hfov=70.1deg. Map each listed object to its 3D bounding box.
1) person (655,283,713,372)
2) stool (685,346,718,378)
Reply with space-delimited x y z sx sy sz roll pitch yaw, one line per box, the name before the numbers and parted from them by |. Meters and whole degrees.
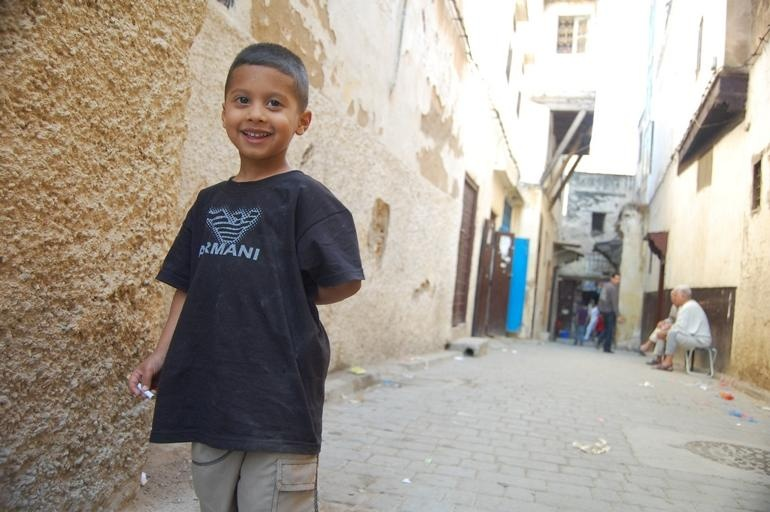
person | 5.055 1.212 9.398 0.840 1.327 0.817 2 -3 31
stool | 5.260 1.784 9.181 0.507 0.496 0.484 1 4 39
